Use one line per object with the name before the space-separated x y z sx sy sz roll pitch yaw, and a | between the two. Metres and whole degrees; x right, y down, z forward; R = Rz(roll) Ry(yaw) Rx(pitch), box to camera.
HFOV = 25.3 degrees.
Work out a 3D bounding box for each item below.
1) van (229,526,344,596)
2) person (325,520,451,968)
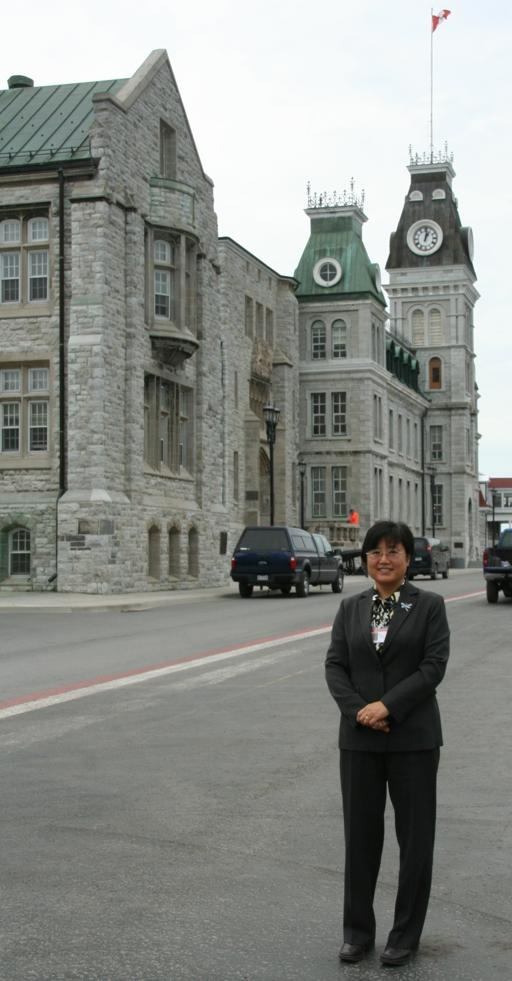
van | 0.866 1.691 29.122 1.346 1.431 3.267 -1 -1 21
person | 0.445 0.850 3.956 0.385 1.455 0.379 1 -1 -7
